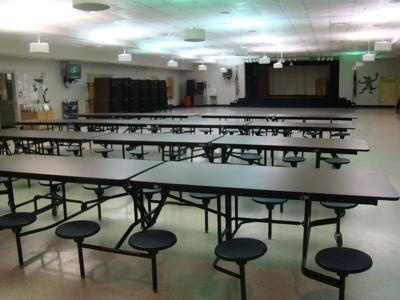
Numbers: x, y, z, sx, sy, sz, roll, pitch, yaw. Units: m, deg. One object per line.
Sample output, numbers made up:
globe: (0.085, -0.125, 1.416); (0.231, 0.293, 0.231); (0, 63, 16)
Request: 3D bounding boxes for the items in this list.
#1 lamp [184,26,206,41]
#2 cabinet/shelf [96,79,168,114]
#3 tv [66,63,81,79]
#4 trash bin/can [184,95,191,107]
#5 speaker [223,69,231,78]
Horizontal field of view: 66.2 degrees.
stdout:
lamp: (-0.131, -3.111, 8.177); (0.504, 0.371, 0.602); (-2, 12, -5)
cabinet/shelf: (-3.502, -3.072, 17.470); (1.565, 1.939, 6.006); (3, 12, 20)
tv: (-5.757, -3.625, 14.076); (0.358, 0.658, 0.706); (7, 11, 25)
trash bin/can: (-0.905, -3.996, 25.038); (0.621, 0.820, 0.426); (-2, 12, -3)
speaker: (2.209, -6.061, 24.348); (0.642, 0.622, 0.616); (-1, 7, 1)
